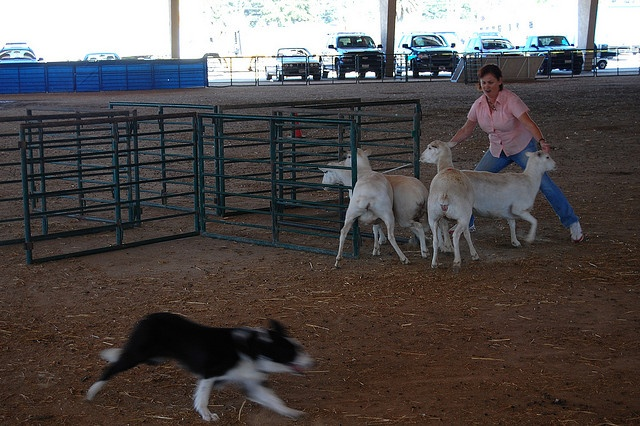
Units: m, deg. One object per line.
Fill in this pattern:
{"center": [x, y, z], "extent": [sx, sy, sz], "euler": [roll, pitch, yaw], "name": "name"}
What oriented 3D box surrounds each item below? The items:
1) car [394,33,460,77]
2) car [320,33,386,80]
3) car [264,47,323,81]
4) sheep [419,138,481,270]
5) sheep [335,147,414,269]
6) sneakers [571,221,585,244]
{"center": [7.063, -10.495, 38.499], "extent": [3.028, 2.924, 5.136], "euler": [-6, 16, -22], "name": "car"}
{"center": [2.056, -10.705, 39.901], "extent": [3.193, 2.349, 5.055], "euler": [-2, 7, -12], "name": "car"}
{"center": [-1.750, -10.356, 40.082], "extent": [2.707, 1.666, 5.134], "euler": [-2, 9, -6], "name": "car"}
{"center": [1.683, -0.184, 7.380], "extent": [0.714, 1.439, 2.360], "euler": [-2, 8, 9], "name": "sheep"}
{"center": [0.655, 0.069, 7.082], "extent": [0.900, 1.105, 0.781], "euler": [1, 16, 2], "name": "sheep"}
{"center": [3.343, 0.240, 7.497], "extent": [0.183, 0.275, 0.140], "euler": [6, 17, 21], "name": "sneakers"}
